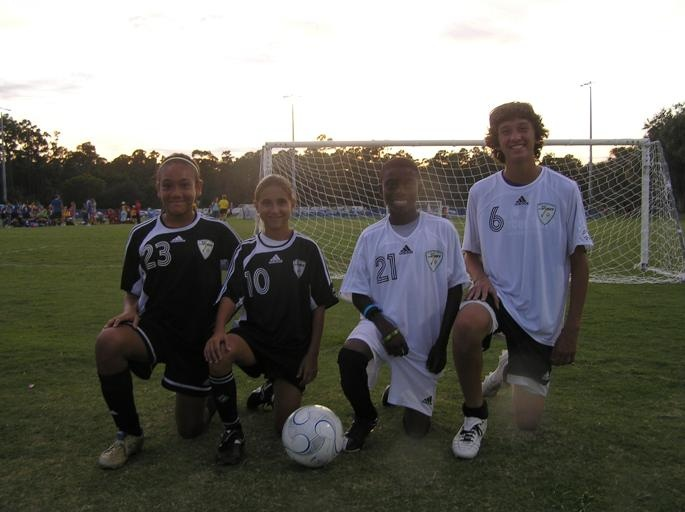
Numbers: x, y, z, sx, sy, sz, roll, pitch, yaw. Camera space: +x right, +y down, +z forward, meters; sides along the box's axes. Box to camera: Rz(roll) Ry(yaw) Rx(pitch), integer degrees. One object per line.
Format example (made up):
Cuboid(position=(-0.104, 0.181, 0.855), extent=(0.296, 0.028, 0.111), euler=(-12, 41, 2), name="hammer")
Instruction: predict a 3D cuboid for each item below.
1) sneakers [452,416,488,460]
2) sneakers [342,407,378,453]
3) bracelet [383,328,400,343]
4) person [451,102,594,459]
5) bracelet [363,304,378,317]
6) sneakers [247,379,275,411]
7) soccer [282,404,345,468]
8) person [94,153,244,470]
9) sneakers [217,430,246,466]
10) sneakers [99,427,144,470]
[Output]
Cuboid(position=(0.774, 1.113, 3.196), extent=(0.109, 0.140, 0.321), euler=(18, 10, 15), name="sneakers")
Cuboid(position=(0.108, 1.106, 3.359), extent=(0.101, 0.129, 0.313), euler=(15, 24, 25), name="sneakers")
Cuboid(position=(0.310, 0.505, 3.304), extent=(0.075, 0.021, 0.078), euler=(-32, -4, -43), name="bracelet")
Cuboid(position=(1.109, 0.078, 3.494), extent=(1.012, 2.180, 0.832), euler=(-4, 11, -17), name="person")
Cuboid(position=(0.188, 0.362, 3.478), extent=(0.068, 0.080, 0.076), euler=(19, 1, 34), name="bracelet")
Cuboid(position=(-0.591, 1.021, 3.792), extent=(0.290, 0.107, 0.125), euler=(-42, 14, 15), name="sneakers")
Cuboid(position=(-0.177, 1.065, 3.078), extent=(0.316, 0.338, 0.320), euler=(-1, -1, 3), name="soccer")
Cuboid(position=(-1.146, 0.267, 3.417), extent=(1.003, 1.819, 0.721), euler=(-7, 13, -31), name="person")
Cuboid(position=(-0.675, 1.156, 3.149), extent=(0.090, 0.123, 0.257), euler=(2, 4, -11), name="sneakers")
Cuboid(position=(-1.316, 1.160, 3.196), extent=(0.114, 0.157, 0.308), euler=(7, 8, 19), name="sneakers")
